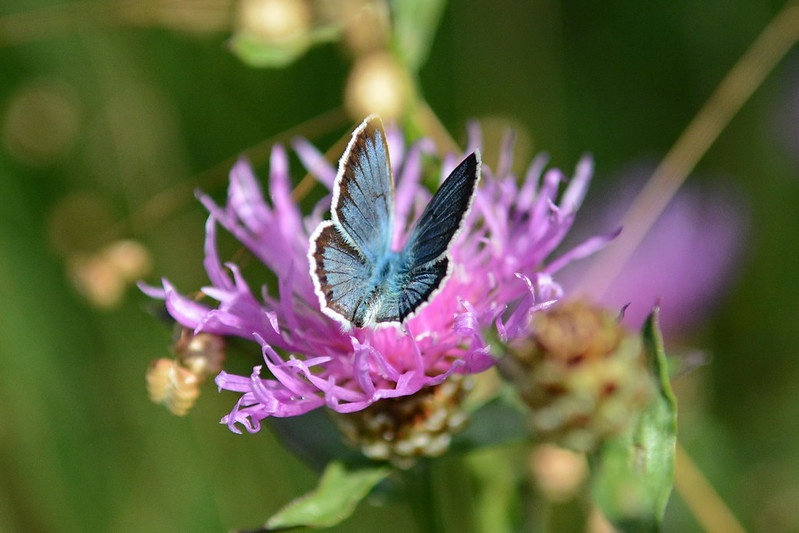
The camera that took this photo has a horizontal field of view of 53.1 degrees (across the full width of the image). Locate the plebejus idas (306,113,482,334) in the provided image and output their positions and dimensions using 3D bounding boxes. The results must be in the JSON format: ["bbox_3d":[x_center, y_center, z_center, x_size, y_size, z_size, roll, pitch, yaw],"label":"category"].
[{"bbox_3d":[-0.042,-0.022,1.536,0.276,0.159,0.427,19,76,-6],"label":"plebejus idas"}]
